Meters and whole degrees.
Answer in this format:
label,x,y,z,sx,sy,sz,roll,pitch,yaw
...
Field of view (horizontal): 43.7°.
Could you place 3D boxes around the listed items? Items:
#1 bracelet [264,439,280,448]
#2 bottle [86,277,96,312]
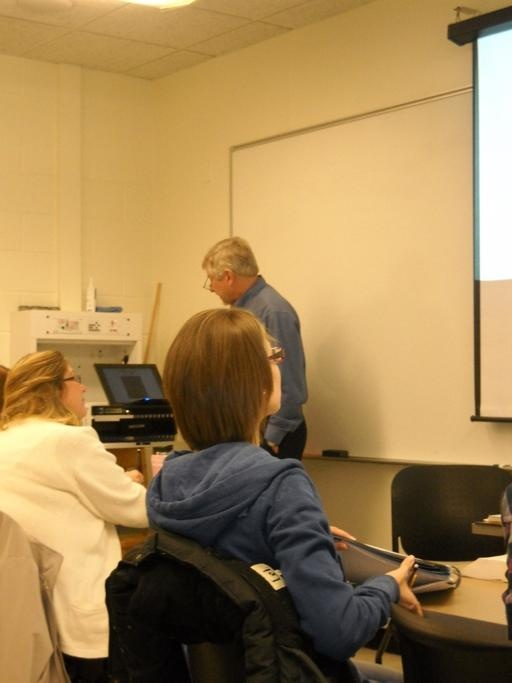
label,x,y,z,sx,sy,sz,roll,pitch,yaw
bracelet,0.082,0.518,3.188,0.037,0.047,0.045,16,-48,-38
bottle,-1.162,-0.328,4.476,0.085,0.240,0.454,-3,3,-14
